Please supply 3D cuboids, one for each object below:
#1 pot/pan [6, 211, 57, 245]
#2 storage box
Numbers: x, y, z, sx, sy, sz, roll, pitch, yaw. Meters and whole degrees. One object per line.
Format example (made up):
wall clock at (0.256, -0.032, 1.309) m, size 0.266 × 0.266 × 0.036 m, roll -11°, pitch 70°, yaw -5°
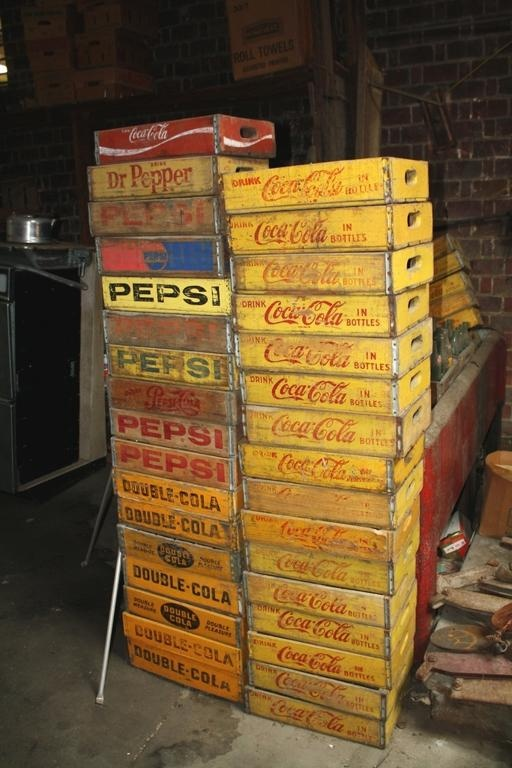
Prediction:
pot/pan at (-1.928, -1.335, 5.750) m, size 0.396 × 0.207 × 0.295 m, roll 11°, pitch 13°, yaw 31°
storage box at (0.005, 0.210, 2.997) m, size 1.419 × 2.681 × 0.552 m, roll 4°, pitch 18°, yaw 27°
